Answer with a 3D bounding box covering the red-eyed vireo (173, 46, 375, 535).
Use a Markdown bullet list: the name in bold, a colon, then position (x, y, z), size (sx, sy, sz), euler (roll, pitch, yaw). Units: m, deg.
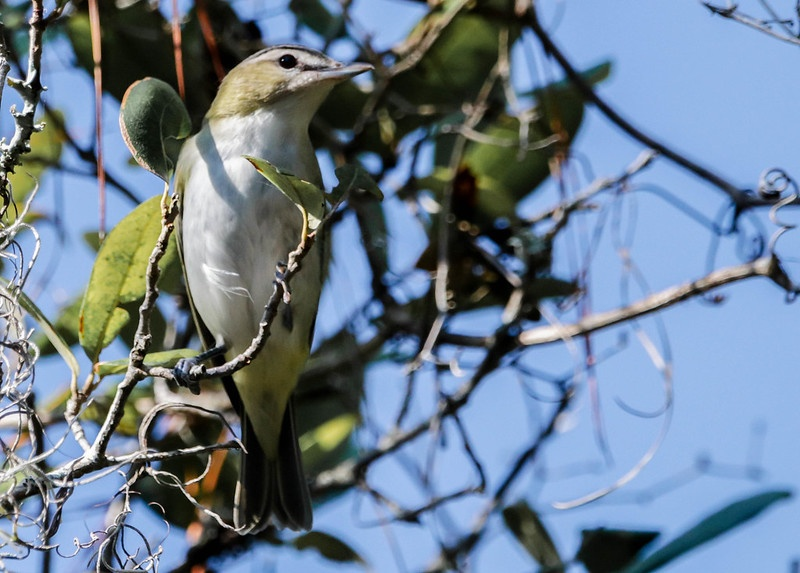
- **red-eyed vireo**: position (-0.523, -0.074, 4.399), size (0.583, 1.131, 1.906), euler (-2, -65, -18)
